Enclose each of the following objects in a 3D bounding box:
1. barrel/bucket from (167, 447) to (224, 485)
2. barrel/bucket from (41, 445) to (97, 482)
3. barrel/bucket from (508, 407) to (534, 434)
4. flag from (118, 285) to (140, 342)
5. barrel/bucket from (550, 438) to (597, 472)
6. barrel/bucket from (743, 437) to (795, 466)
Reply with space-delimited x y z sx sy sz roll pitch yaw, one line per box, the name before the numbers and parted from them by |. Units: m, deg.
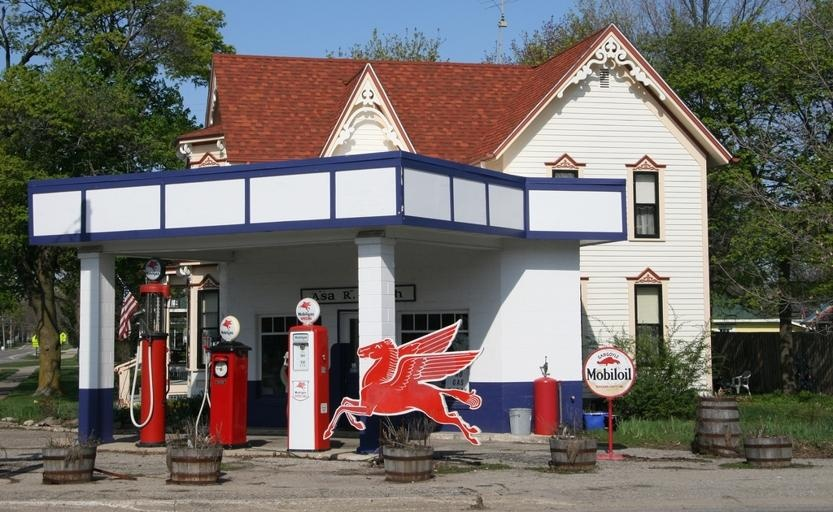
barrel/bucket | -6.967 6.562 40.369 1.231 0.806 1.274 0 -8 0
barrel/bucket | -10.987 6.563 40.474 1.566 1.162 0.429 2 -6 -17
barrel/bucket | 3.748 5.960 46.214 0.778 0.883 0.850 2 -1 0
flag | -10.429 2.114 46.376 0.552 1.752 2.857 1 -6 -13
barrel/bucket | 5.084 6.351 41.336 1.067 0.727 1.155 0 -10 0
barrel/bucket | 11.565 6.437 42.112 1.051 0.676 1.066 0 -8 0
